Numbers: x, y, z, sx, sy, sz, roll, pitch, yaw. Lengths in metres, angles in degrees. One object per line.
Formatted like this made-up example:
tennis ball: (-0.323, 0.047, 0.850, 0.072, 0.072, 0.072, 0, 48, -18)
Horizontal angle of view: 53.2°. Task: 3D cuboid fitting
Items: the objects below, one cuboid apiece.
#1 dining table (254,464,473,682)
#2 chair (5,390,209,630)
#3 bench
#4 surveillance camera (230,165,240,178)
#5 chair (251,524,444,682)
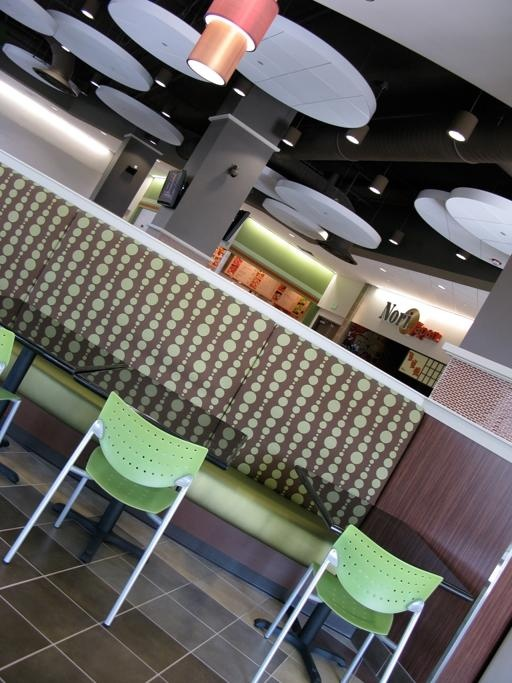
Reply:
dining table: (0.348, 1.068, 2.453, 0.854, 0.777, 0.848, 39, -5, 20)
chair: (-0.606, 0.738, 2.162, 0.559, 0.866, 0.626, 40, -11, -7)
bench: (-0.170, -0.001, 5.460, 4.971, 1.571, 1.928, 30, 3, 1)
surveillance camera: (-0.262, -2.154, 6.445, 0.131, 0.121, 0.122, 18, 11, 37)
chair: (0.350, 1.056, 1.954, 0.433, 0.687, 0.457, 33, 0, 18)
